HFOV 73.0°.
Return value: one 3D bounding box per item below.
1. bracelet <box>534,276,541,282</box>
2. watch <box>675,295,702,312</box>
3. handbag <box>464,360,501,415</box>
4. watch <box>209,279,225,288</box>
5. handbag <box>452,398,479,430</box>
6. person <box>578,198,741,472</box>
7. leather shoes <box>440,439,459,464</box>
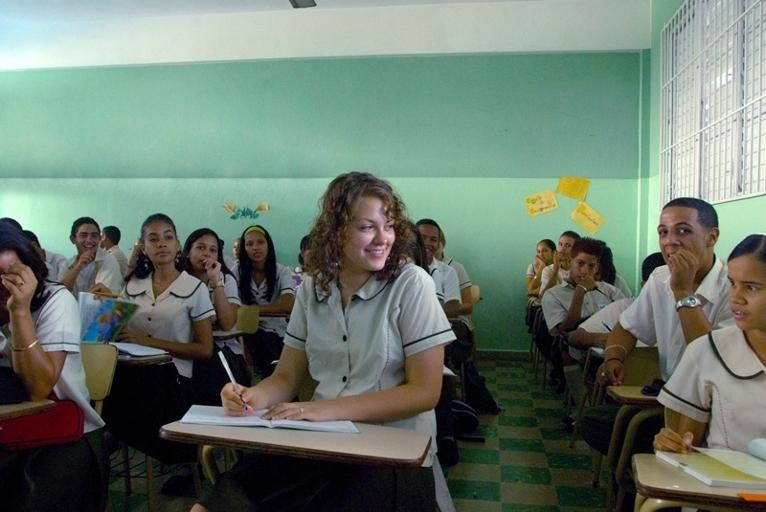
[{"bbox_3d":[1.802,0.265,5.987,0.052,0.051,0.052,4,10,25],"label":"bracelet"},{"bbox_3d":[1.500,0.240,2.525,0.113,0.072,0.107,-22,-22,26],"label":"watch"},{"bbox_3d":[0.883,1.113,4.537,0.313,0.449,0.404,2,5,13],"label":"handbag"},{"bbox_3d":[-1.190,0.194,3.731,0.061,0.064,0.067,5,-23,-33],"label":"watch"},{"bbox_3d":[0.617,1.208,3.994,0.269,0.242,0.210,-1,2,-9],"label":"handbag"},{"bbox_3d":[1.531,0.348,2.708,0.722,1.259,0.698,-2,3,-20],"label":"person"},{"bbox_3d":[0.436,1.285,3.377,0.141,0.190,0.073,-4,10,-16],"label":"leather shoes"}]
